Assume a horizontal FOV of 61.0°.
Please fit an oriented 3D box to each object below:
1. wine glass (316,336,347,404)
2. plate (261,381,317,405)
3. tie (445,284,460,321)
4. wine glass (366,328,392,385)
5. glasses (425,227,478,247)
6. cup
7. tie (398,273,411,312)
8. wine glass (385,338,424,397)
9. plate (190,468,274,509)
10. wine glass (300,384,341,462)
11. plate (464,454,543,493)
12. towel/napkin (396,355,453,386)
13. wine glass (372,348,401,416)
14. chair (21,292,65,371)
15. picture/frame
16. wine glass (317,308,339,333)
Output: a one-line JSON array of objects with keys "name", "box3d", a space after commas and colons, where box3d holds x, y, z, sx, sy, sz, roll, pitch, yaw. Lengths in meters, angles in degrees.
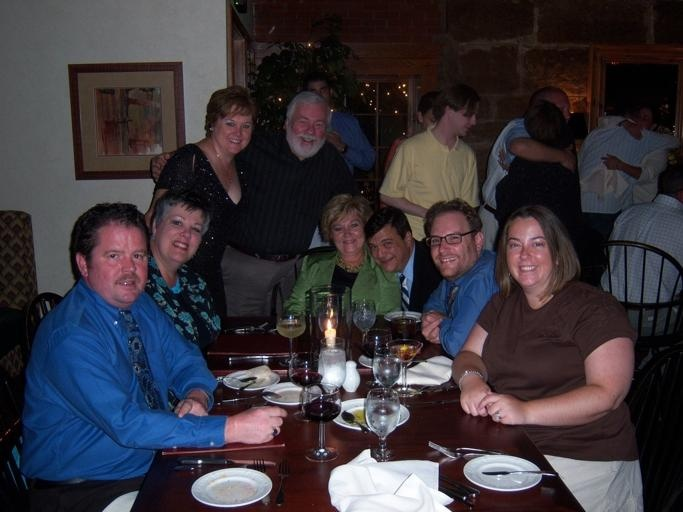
[{"name": "wine glass", "box3d": [-0.021, 0.459, 2.309, 0.163, 0.245, 0.168, -4, 3, 16]}, {"name": "plate", "box3d": [-0.230, 0.547, 2.298, 0.144, 0.020, 0.146, 10, 14, 43]}, {"name": "tie", "box3d": [0.582, 0.237, 3.056, 0.035, 0.140, 0.106, 3, 13, 7]}, {"name": "wine glass", "box3d": [0.161, 0.450, 2.625, 0.135, 0.221, 0.133, 8, 3, 9]}, {"name": "glasses", "box3d": [0.570, -0.096, 2.995, 0.257, 0.083, 0.138, -1, 7, 11]}, {"name": "cup", "box3d": [-0.050, 0.332, 2.804, 0.192, 0.338, 0.195, -2, 5, 0]}, {"name": "tie", "box3d": [0.387, 0.219, 3.579, 0.052, 0.184, 0.135, -9, 14, 1]}, {"name": "wine glass", "box3d": [0.269, 0.483, 2.488, 0.161, 0.194, 0.167, -8, -14, 44]}, {"name": "plate", "box3d": [-0.338, 0.717, 1.784, 0.241, 0.056, 0.151, -4, 7, -11]}, {"name": "wine glass", "box3d": [-0.072, 0.589, 2.047, 0.140, 0.246, 0.135, 0, 8, -2]}, {"name": "plate", "box3d": [0.508, 0.685, 1.820, 0.245, 0.053, 0.145, -2, 6, 8]}, {"name": "towel/napkin", "box3d": [0.376, 0.476, 2.455, 0.168, 0.030, 0.106, -8, 10, -32]}, {"name": "wine glass", "box3d": [0.178, 0.489, 2.251, 0.105, 0.260, 0.098, -8, 20, -19]}, {"name": "chair", "box3d": [-1.455, 0.341, 2.815, 0.181, 0.295, 0.601, -6, 7, -26]}, {"name": "picture/frame", "box3d": [-1.598, -1.067, 4.320, 1.004, 1.027, 0.076, -2, 12, 0]}, {"name": "wine glass", "box3d": [-0.062, 0.300, 2.707, 0.095, 0.107, 0.100, -1, 1, 2]}]
